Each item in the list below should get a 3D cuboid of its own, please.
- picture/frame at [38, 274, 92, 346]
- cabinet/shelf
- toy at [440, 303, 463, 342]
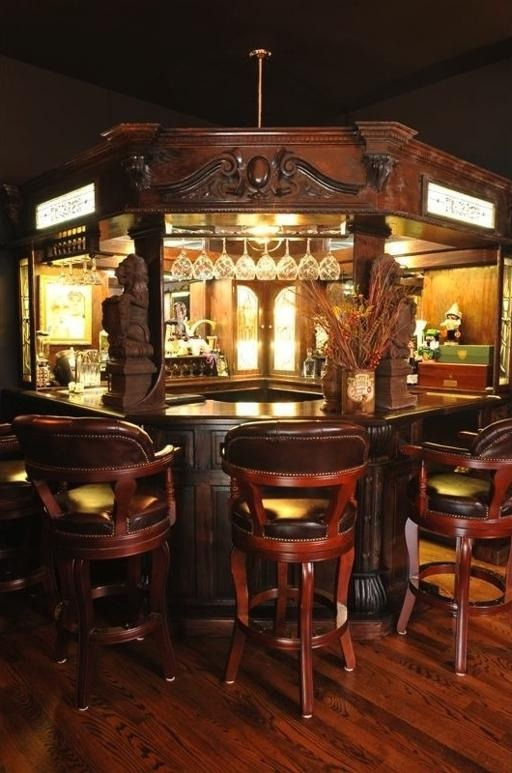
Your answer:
[{"bbox_3d":[-1.636,-0.652,5.427,0.627,0.811,0.059,-3,6,-42],"label":"picture/frame"},{"bbox_3d":[0.253,-0.574,6.273,0.915,1.233,0.914,-8,8,-36],"label":"cabinet/shelf"},{"bbox_3d":[1.546,-0.504,5.211,0.194,0.308,0.182,5,8,35],"label":"toy"}]
